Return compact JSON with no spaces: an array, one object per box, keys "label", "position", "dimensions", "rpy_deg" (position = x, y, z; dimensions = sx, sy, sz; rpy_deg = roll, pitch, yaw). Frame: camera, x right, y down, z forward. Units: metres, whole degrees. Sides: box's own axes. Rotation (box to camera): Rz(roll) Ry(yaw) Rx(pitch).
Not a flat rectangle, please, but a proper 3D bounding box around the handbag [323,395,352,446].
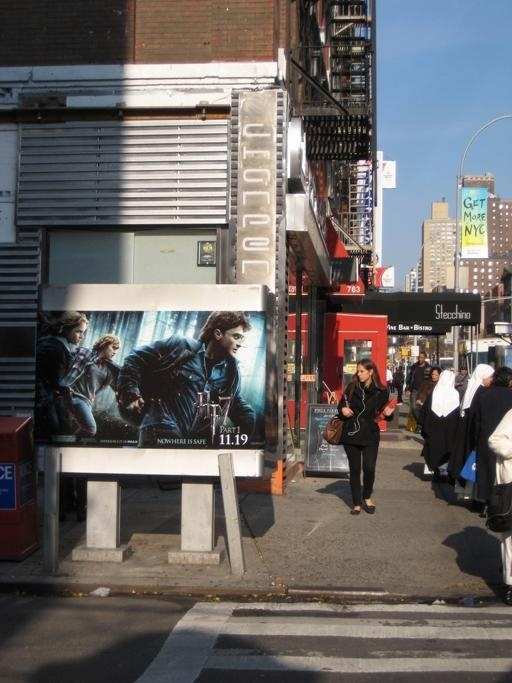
[{"label":"handbag","position":[0.820,0.828,10.692],"dimensions":[0.266,0.471,0.175],"rpy_deg":[3,0,11]}]
